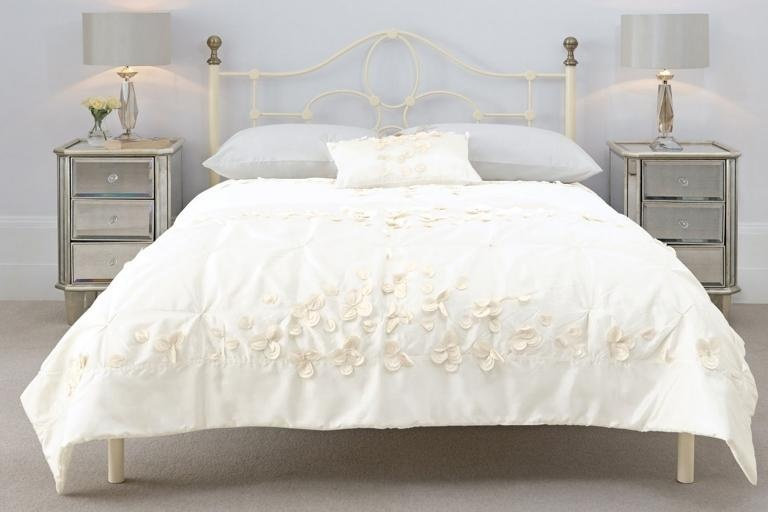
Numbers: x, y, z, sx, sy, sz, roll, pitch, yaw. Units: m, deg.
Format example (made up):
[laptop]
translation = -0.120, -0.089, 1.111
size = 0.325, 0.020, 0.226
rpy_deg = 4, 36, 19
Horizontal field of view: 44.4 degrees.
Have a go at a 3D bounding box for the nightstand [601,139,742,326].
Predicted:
[nightstand]
translation = 1.573, -0.104, 5.142
size = 0.604, 0.837, 0.728
rpy_deg = 2, -4, 8

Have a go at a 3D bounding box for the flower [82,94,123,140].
[flower]
translation = -1.511, -0.707, 5.000
size = 0.252, 0.261, 0.233
rpy_deg = -2, 12, -32
